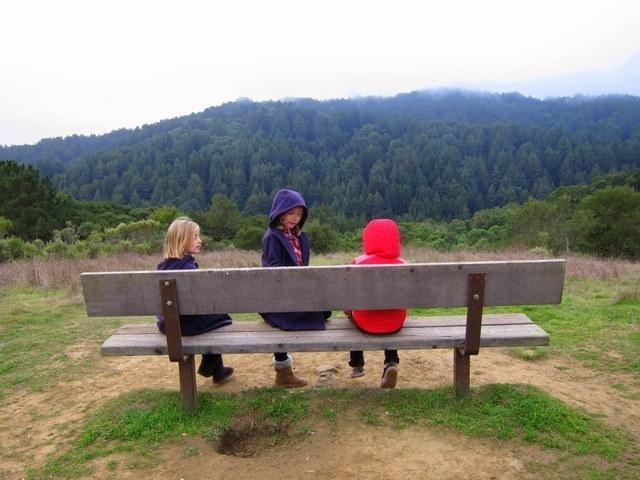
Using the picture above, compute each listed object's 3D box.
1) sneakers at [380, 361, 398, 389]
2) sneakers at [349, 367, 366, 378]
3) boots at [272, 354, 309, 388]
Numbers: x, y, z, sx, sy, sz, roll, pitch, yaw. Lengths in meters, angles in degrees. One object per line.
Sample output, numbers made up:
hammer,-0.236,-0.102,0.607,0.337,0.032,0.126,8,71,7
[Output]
sneakers,0.748,1.412,6.051,0.113,0.336,0.139,3,38,3
sneakers,0.432,1.529,6.589,0.075,0.105,0.186,-5,-11,37
boots,-0.354,1.441,6.370,0.427,0.466,0.217,-1,5,-16
